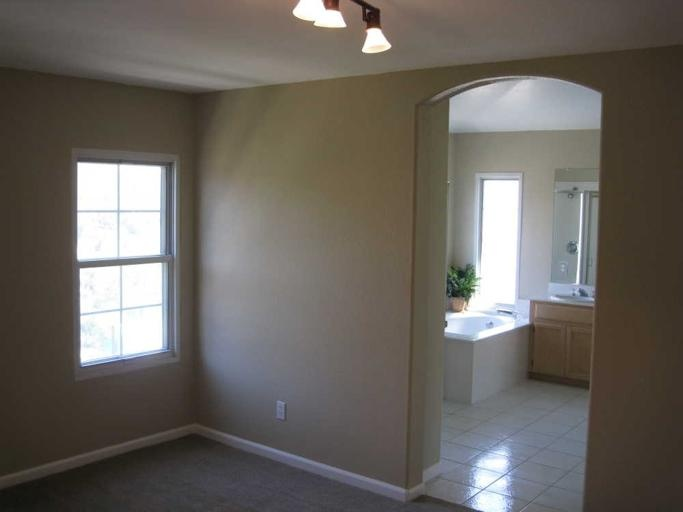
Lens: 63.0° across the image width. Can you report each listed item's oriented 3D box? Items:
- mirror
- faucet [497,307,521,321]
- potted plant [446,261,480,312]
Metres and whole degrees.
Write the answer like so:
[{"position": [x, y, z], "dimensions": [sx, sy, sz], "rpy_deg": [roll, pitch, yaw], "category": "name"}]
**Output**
[{"position": [2.852, -0.356, 6.826], "dimensions": [0.503, 1.421, 0.132], "rpy_deg": [3, 7, 20], "category": "mirror"}, {"position": [2.140, 0.745, 7.139], "dimensions": [0.088, 0.122, 0.437], "rpy_deg": [-1, 3, -16], "category": "faucet"}, {"position": [1.631, 0.419, 7.465], "dimensions": [0.417, 0.601, 0.430], "rpy_deg": [3, 7, 16], "category": "potted plant"}]
